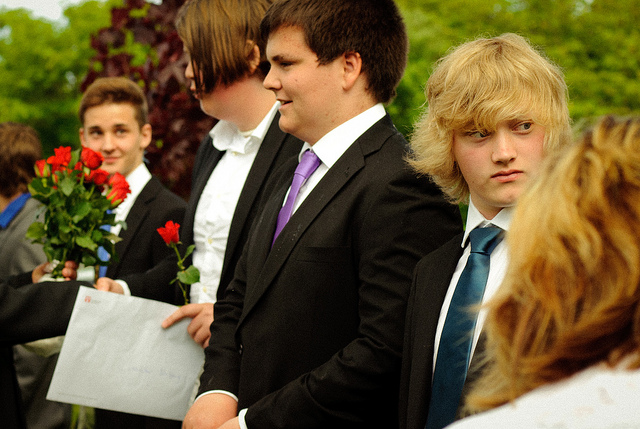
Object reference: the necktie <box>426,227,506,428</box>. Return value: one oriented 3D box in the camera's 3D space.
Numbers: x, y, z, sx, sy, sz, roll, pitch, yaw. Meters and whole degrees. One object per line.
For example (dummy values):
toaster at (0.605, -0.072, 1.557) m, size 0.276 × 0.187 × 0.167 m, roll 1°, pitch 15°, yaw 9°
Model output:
necktie at (0.682, 0.523, 3.662) m, size 0.254 × 0.937 × 0.157 m, roll 15°, pitch -3°, yaw 31°

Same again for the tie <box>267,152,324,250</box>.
tie at (-0.125, -0.052, 4.280) m, size 0.108 × 0.600 × 0.071 m, roll 22°, pitch -22°, yaw 21°
